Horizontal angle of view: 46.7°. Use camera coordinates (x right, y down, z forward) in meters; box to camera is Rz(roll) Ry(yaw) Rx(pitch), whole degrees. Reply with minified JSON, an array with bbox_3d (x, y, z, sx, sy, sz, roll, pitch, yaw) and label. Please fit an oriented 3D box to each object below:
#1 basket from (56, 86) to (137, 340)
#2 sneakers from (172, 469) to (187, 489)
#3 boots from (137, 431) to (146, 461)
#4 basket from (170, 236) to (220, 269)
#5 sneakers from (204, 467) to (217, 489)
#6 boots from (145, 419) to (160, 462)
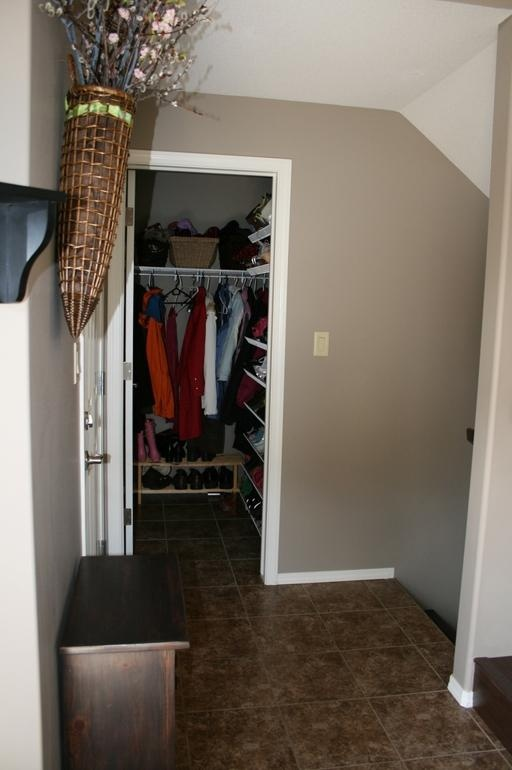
[{"bbox_3d":[-0.273,-0.283,1.001,0.125,0.409,0.105,1,4,-3],"label":"basket"},{"bbox_3d":[-0.534,0.666,4.205,0.114,0.117,0.153,3,5,20],"label":"sneakers"},{"bbox_3d":[-0.768,0.414,4.049,0.054,0.189,0.123,-3,2,-1],"label":"boots"},{"bbox_3d":[-0.400,-0.883,3.913,0.258,0.177,0.201,-9,17,-38],"label":"basket"},{"bbox_3d":[-0.322,0.670,4.198,0.074,0.098,0.141,0,6,-6],"label":"sneakers"},{"bbox_3d":[-0.702,0.376,4.095,0.092,0.288,0.189,2,5,10],"label":"boots"}]
